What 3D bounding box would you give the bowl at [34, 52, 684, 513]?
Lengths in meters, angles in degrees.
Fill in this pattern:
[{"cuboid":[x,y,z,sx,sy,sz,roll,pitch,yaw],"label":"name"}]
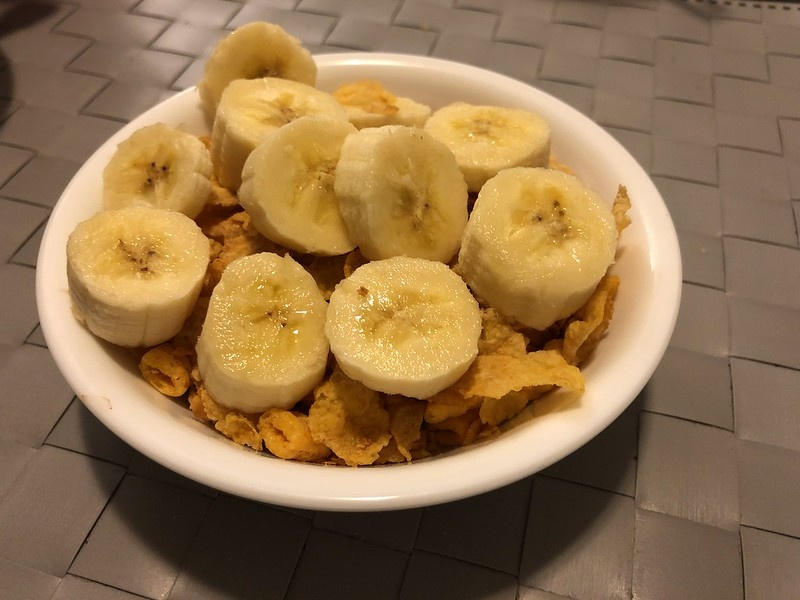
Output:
[{"cuboid":[-0.066,-0.068,1.450,1.115,0.212,0.964,-22,66,-18],"label":"bowl"}]
